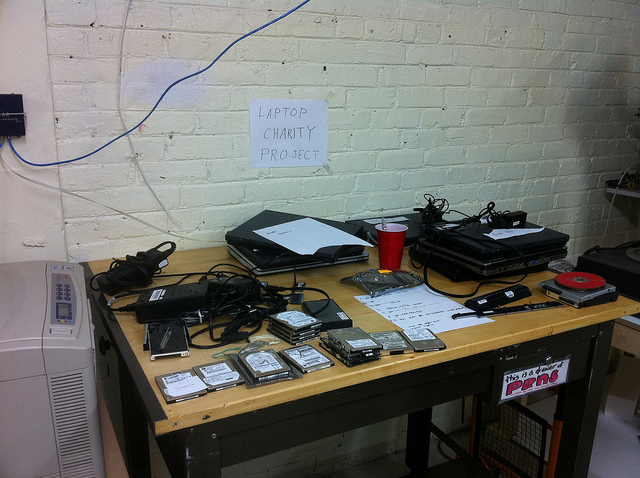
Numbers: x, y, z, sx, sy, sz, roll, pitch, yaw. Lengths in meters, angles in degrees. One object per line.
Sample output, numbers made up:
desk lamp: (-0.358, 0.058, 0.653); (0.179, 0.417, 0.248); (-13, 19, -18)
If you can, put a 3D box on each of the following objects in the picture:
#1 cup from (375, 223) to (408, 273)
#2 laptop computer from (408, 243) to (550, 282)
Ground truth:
cup: (0.252, 0.030, 1.709); (0.104, 0.178, 0.161); (0, 16, 7)
laptop computer: (0.502, 0.093, 1.800); (0.217, 0.041, 0.205); (16, 4, -39)
